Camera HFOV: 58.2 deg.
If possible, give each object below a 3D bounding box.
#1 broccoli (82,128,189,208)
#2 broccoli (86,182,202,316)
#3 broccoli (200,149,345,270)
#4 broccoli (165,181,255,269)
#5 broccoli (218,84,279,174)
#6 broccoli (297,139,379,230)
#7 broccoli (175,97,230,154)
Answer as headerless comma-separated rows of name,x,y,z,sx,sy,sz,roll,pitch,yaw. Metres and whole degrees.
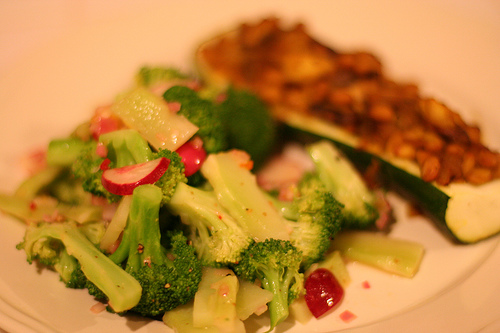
broccoli,-0.435,0.007,1.779,0.349,0.255,0.081,8,-12,13
broccoli,-0.334,0.269,1.753,0.427,0.456,0.438,16,16,22
broccoli,-0.001,0.139,1.709,0.217,0.432,0.110,-34,-3,-34
broccoli,-0.145,0.219,1.712,0.234,0.337,0.135,-40,-9,-8
broccoli,-0.023,-0.159,1.810,0.233,0.304,0.090,-5,1,15
broccoli,0.336,0.089,1.828,0.190,0.378,0.087,-28,-7,-41
broccoli,-0.189,-0.171,1.823,0.082,0.228,0.168,-12,-8,-23
